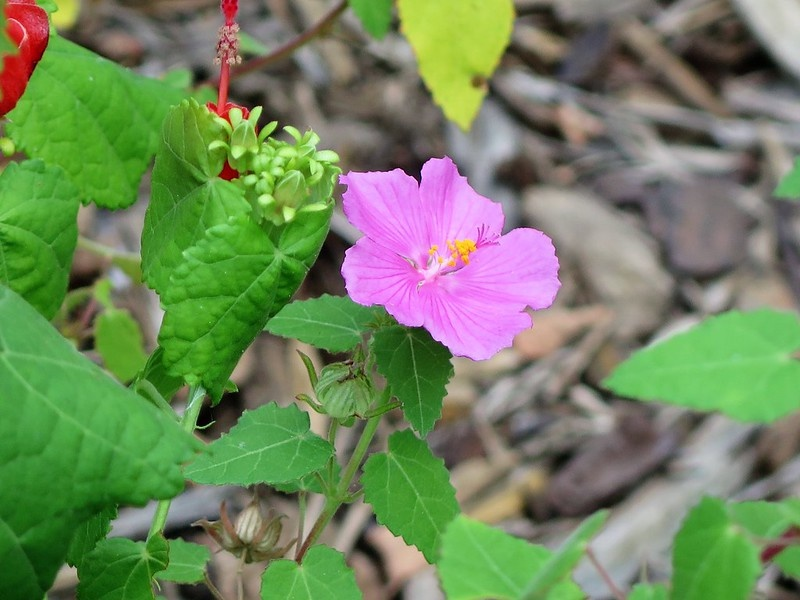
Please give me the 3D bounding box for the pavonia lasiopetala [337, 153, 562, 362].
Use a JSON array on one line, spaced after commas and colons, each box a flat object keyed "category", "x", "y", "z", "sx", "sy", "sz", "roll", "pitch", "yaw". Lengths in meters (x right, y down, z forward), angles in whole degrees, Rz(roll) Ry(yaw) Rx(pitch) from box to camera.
[{"category": "pavonia lasiopetala", "x": 0.053, "y": -0.041, "z": 0.950, "sx": 0.247, "sy": 0.113, "sz": 0.217, "roll": -7, "pitch": 48, "yaw": -23}]
